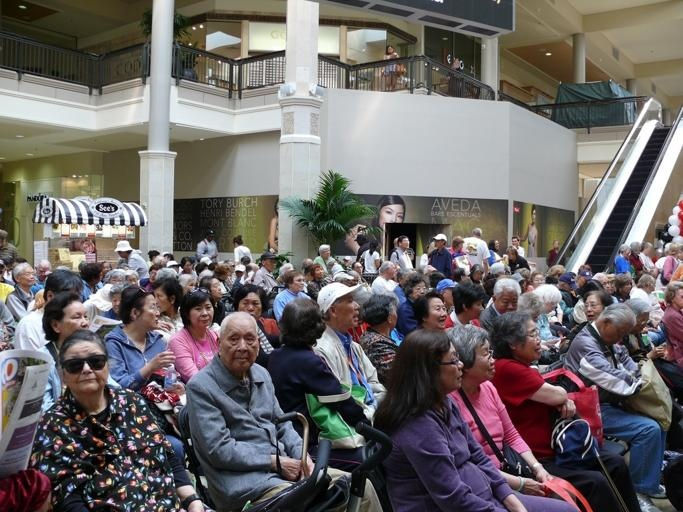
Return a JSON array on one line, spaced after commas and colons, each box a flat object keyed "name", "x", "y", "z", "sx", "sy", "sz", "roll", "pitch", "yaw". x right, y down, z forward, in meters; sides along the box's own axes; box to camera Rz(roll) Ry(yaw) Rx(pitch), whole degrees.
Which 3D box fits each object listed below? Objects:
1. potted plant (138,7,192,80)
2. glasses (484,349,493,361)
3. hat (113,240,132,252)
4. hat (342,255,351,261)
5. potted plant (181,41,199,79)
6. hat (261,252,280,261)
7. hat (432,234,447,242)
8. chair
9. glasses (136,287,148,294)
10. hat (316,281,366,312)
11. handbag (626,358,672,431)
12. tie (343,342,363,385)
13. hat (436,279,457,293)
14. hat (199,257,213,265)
[{"name": "potted plant", "x": -4.670, "y": -5.694, "z": 16.512, "sx": 1.254, "sy": 2.322, "sz": 3.618, "roll": 0, "pitch": 6, "yaw": -17}, {"name": "glasses", "x": 0.881, "y": 0.589, "z": 3.620, "sx": 0.028, "sy": 0.076, "sz": 0.067, "roll": -4, "pitch": 3, "yaw": -4}, {"name": "hat", "x": -4.789, "y": -0.223, "z": 13.272, "sx": 0.285, "sy": 0.187, "sz": 0.323, "roll": -2, "pitch": 7, "yaw": 2}, {"name": "hat", "x": 0.127, "y": 0.043, "z": 13.447, "sx": 0.103, "sy": 0.110, "sz": 0.106, "roll": 1, "pitch": -2, "yaw": -15}, {"name": "potted plant", "x": -3.804, "y": -4.782, "z": 15.308, "sx": 0.442, "sy": 0.815, "sz": 0.307, "roll": -1, "pitch": 6, "yaw": -30}, {"name": "hat", "x": -1.171, "y": -0.002, "z": 10.043, "sx": 0.248, "sy": 0.128, "sz": 0.170, "roll": -3, "pitch": -1, "yaw": 15}, {"name": "hat", "x": 2.034, "y": -0.382, "z": 12.623, "sx": 0.243, "sy": 0.155, "sz": 0.181, "roll": 26, "pitch": -22, "yaw": -27}, {"name": "chair", "x": -0.810, "y": 1.078, "z": 3.392, "sx": 0.194, "sy": 0.577, "sz": 0.402, "roll": 0, "pitch": 6, "yaw": -16}, {"name": "glasses", "x": -1.393, "y": 0.242, "z": 4.293, "sx": 0.053, "sy": 0.058, "sz": 0.041, "roll": 0, "pitch": -32, "yaw": -31}, {"name": "hat", "x": -0.051, "y": 0.287, "z": 4.311, "sx": 0.239, "sy": 0.187, "sz": 0.252, "roll": 2, "pitch": 6, "yaw": -1}, {"name": "handbag", "x": 2.329, "y": 1.036, "z": 4.606, "sx": 0.300, "sy": 0.484, "sz": 0.273, "roll": 5, "pitch": 6, "yaw": 26}, {"name": "tie", "x": 0.087, "y": 0.720, "z": 4.129, "sx": 0.123, "sy": 0.256, "sz": 0.155, "roll": 0, "pitch": 6, "yaw": -18}, {"name": "hat", "x": 1.191, "y": 0.327, "z": 6.993, "sx": 0.189, "sy": 0.107, "sz": 0.135, "roll": -25, "pitch": -4, "yaw": 7}, {"name": "hat", "x": -2.094, "y": 0.067, "z": 9.348, "sx": 0.136, "sy": 0.121, "sz": 0.275, "roll": -9, "pitch": -1, "yaw": -5}]
